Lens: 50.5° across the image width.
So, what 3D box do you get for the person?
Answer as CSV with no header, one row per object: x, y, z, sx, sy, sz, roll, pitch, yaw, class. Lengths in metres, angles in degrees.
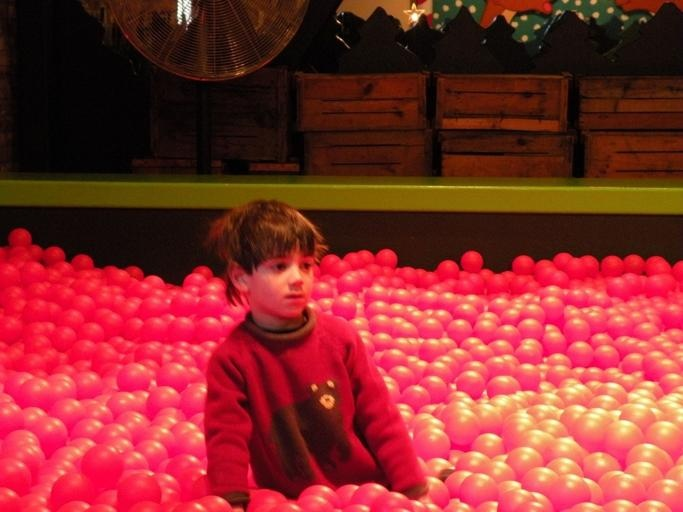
-0.009,0.223,2.174,0.609,1.020,0.689,-11,3,-25,person
